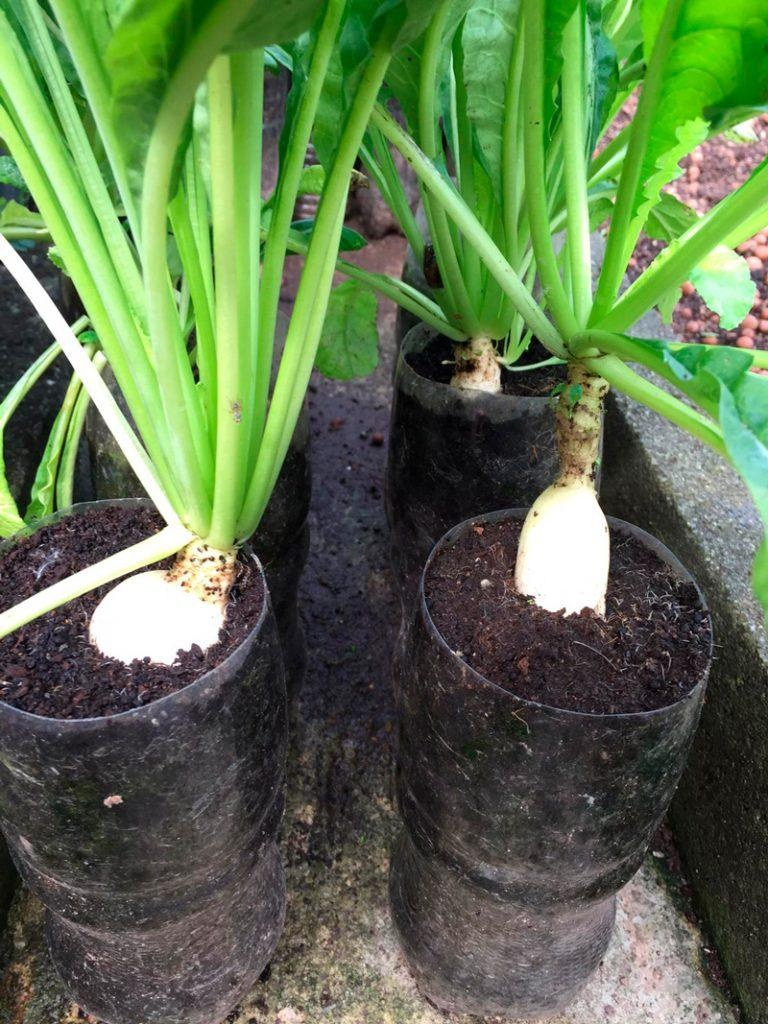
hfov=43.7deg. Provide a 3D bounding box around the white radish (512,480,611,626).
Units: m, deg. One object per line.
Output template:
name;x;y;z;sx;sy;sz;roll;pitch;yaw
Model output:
white radish;0.160;0.035;0.866;0.084;0.082;0.119;0;46;-1

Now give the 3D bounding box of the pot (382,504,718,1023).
pot;0.164;0.261;0.928;0.318;0.531;0.292;1;46;-2

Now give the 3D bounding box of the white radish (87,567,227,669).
white radish;-0.194;0.092;0.789;0.071;0.048;0.084;15;24;25
